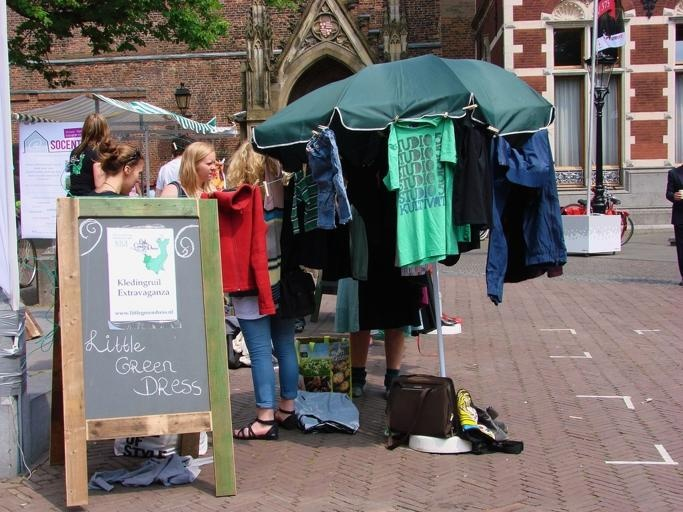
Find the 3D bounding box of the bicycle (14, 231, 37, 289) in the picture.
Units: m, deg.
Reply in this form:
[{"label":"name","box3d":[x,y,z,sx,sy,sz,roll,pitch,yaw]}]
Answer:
[{"label":"bicycle","box3d":[-4.811,0.119,12.961,0.271,0.725,1.033,-5,11,-21]}]

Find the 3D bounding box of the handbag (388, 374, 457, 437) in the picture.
[{"label":"handbag","box3d":[0.721,1.206,7.252,0.721,0.587,0.441,0,-8,17]}]

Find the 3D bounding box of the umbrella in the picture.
[{"label":"umbrella","box3d":[0.689,-0.979,8.147,2.987,1.760,2.664,-9,9,-36]}]

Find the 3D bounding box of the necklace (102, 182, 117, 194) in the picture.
[{"label":"necklace","box3d":[-1.926,-0.558,7.006,0.095,0.075,0.076,-4,11,-15]}]

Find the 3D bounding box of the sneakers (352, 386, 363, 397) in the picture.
[{"label":"sneakers","box3d":[0.151,1.318,8.198,0.088,0.094,0.239,-1,-8,5]}]

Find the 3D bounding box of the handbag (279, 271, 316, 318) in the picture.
[{"label":"handbag","box3d":[-0.386,0.329,7.220,0.362,0.395,0.223,4,-13,-39]}]

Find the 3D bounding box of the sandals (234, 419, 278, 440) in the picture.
[{"label":"sandals","box3d":[-0.735,1.509,7.338,0.350,0.161,0.175,2,-5,8]}]
